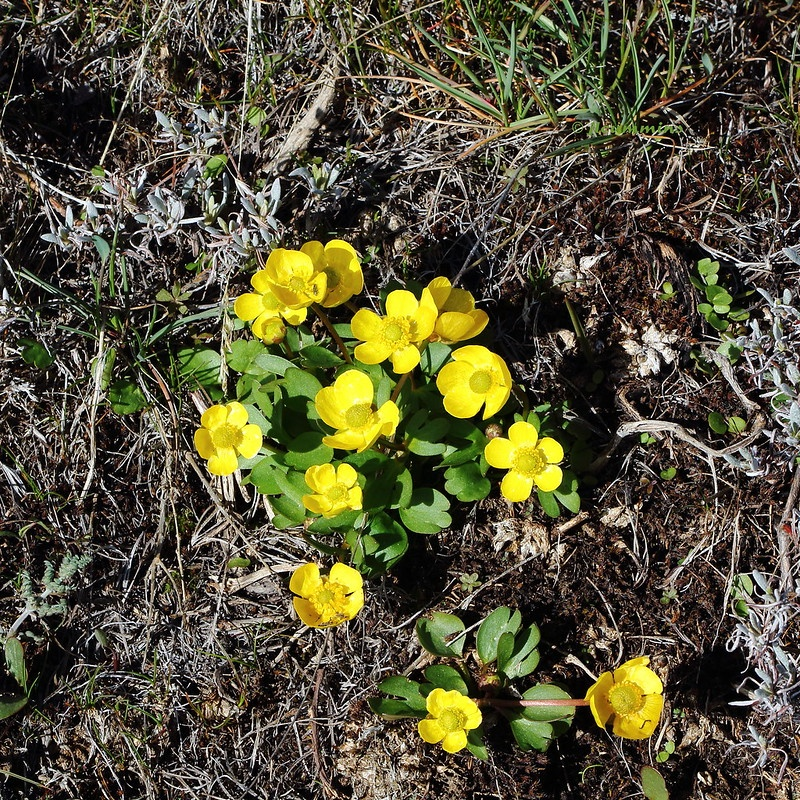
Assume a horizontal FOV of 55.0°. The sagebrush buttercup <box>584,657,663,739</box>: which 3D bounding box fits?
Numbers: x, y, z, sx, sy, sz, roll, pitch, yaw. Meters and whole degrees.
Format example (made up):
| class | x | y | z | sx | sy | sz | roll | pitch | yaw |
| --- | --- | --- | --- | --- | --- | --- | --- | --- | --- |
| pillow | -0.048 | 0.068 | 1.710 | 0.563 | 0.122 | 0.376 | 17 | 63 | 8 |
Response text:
| class | x | y | z | sx | sy | sz | roll | pitch | yaw |
| --- | --- | --- | --- | --- | --- | --- | --- | --- | --- |
| sagebrush buttercup | 0.714 | 0.936 | 2.512 | 0.260 | 0.113 | 0.284 | 27 | 64 | -12 |
